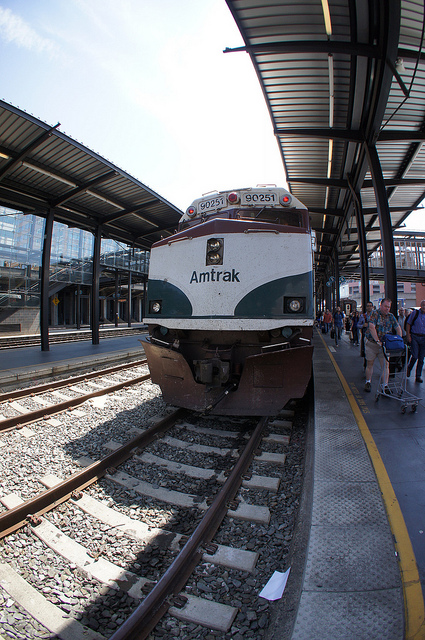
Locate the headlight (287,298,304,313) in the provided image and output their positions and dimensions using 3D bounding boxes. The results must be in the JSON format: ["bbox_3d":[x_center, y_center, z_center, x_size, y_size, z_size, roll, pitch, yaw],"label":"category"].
[{"bbox_3d":[1.004,-0.168,4.229,0.174,0.176,0.058,3,-6,12],"label":"headlight"}]

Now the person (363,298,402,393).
[{"bbox_3d":[2.967,0.497,5.998,0.532,1.714,0.912,-1,1,15],"label":"person"}]

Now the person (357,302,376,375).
[{"bbox_3d":[3.687,0.353,8.246,0.554,1.433,0.447,3,4,4],"label":"person"}]

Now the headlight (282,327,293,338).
[{"bbox_3d":[0.918,0.150,4.253,0.121,0.116,0.056,-1,1,12],"label":"headlight"}]

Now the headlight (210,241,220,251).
[{"bbox_3d":[0.021,-0.962,4.454,0.109,0.111,0.028,-5,0,32],"label":"headlight"}]

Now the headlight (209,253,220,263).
[{"bbox_3d":[0.011,-0.811,4.523,0.100,0.127,0.122,5,5,17],"label":"headlight"}]

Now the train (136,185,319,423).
[{"bbox_3d":[0.853,-0.711,7.514,2.270,3.150,6.432,1,6,13],"label":"train"}]

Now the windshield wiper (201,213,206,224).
[{"bbox_3d":[-0.151,-1.684,5.623,0.053,0.112,0.085,-1,2,1],"label":"windshield wiper"}]
